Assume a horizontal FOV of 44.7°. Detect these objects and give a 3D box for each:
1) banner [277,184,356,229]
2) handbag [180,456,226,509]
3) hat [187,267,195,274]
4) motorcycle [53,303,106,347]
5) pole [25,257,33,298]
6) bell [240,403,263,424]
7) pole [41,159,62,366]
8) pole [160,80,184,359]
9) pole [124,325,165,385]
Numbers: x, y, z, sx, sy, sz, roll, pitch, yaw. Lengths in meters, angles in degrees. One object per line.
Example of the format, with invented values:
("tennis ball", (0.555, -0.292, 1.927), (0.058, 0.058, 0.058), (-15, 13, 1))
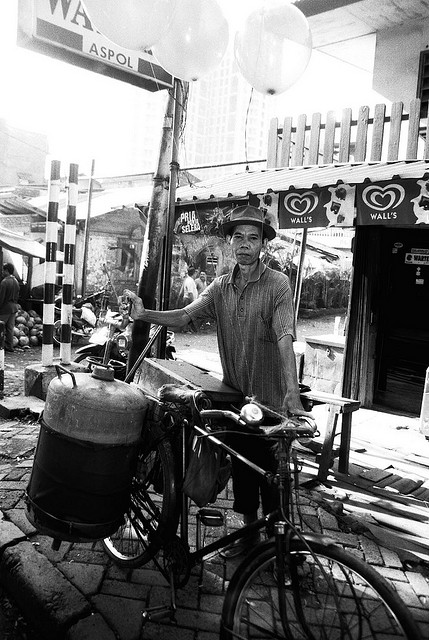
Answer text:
("banner", (1.109, -1.269, 5.852), (1.030, 0.485, 0.168), (9, 6, 43))
("handbag", (-0.055, 0.742, 2.389), (0.186, 0.291, 0.158), (-10, -39, 22))
("hat", (-0.614, -1.271, 13.363), (0.149, 0.165, 0.310), (4, 4, -10))
("motorcycle", (-2.530, 0.106, 9.697), (0.614, 0.846, 1.136), (6, 12, 35))
("pole", (-5.398, -1.249, 15.178), (0.171, 1.148, 0.481), (3, 4, -20))
("bell", (0.141, 0.364, 2.024), (0.076, 0.064, 0.086), (5, 4, -11))
("pole", (-1.996, -0.677, 6.386), (0.145, 2.446, 0.619), (3, 4, -19))
("pole", (-0.378, -0.863, 4.617), (0.095, 2.421, 0.569), (3, 4, -6))
("pole", (-0.487, 0.259, 3.463), (0.156, 0.424, 0.618), (3, 4, -12))
